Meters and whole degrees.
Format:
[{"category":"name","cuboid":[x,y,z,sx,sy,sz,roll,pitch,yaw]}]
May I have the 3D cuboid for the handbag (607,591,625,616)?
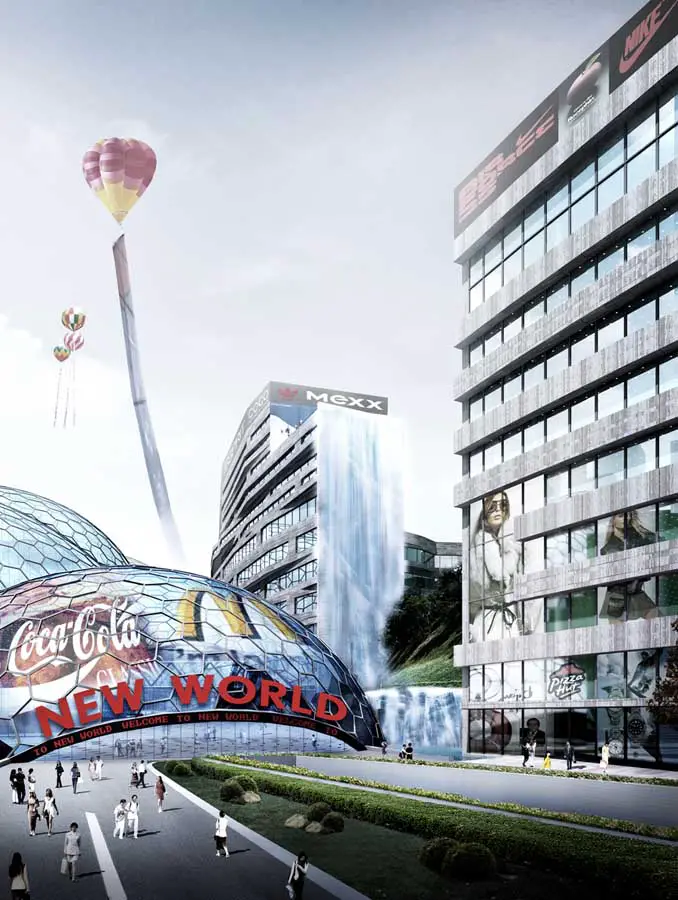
[{"category":"handbag","cuboid":[13.260,7.390,40.076,0.326,0.955,1.112,6,-9,-5]}]
